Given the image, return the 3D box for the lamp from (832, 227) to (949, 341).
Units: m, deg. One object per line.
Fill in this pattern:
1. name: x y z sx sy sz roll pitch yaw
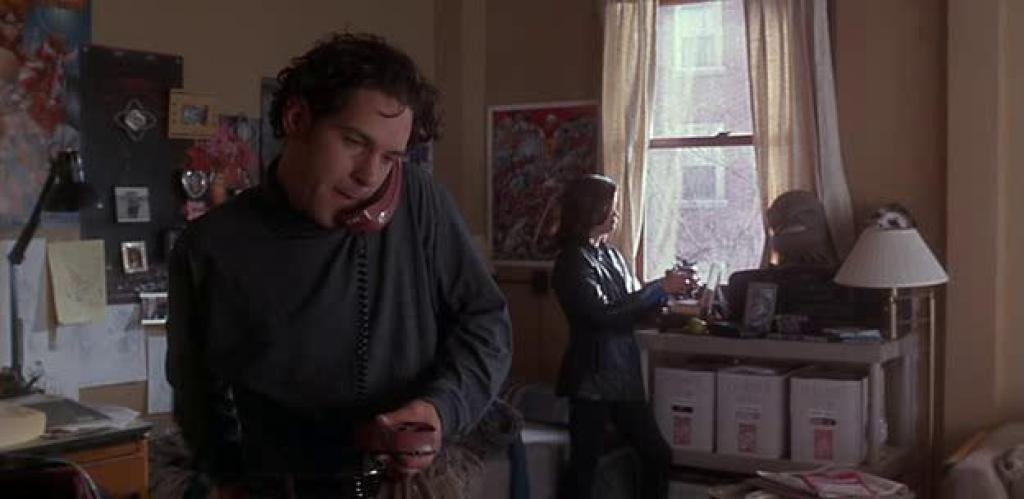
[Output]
1. lamp: 1.719 0.152 3.558 0.559 0.490 0.518 -5 6 -13

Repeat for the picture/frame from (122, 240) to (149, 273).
1. picture/frame: -1.340 0.030 2.782 0.092 0.106 0.012 -3 3 10

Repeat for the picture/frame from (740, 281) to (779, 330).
1. picture/frame: 1.087 0.249 3.483 0.165 0.202 0.052 5 0 -4

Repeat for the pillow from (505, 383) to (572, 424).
1. pillow: 0.126 0.667 3.391 0.201 0.112 0.271 0 3 -41
